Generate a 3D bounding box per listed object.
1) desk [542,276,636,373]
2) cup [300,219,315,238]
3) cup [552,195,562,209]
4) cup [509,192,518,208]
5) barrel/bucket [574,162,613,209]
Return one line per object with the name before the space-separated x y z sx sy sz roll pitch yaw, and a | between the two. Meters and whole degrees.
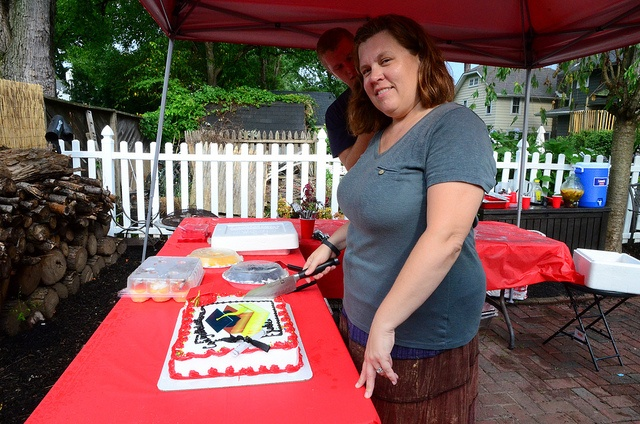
desk | 3.039 1.146 4.627 0.955 1.078 1.075 -2 2 -15
cup | -0.114 0.141 3.652 0.154 0.151 0.155 1 -1 0
cup | 3.369 -0.160 5.948 0.172 0.165 0.172 1 -1 0
cup | 2.746 -0.186 5.887 0.092 0.187 0.369 7 10 21
barrel/bucket | 3.947 -0.405 6.040 0.447 0.634 0.332 7 12 22
